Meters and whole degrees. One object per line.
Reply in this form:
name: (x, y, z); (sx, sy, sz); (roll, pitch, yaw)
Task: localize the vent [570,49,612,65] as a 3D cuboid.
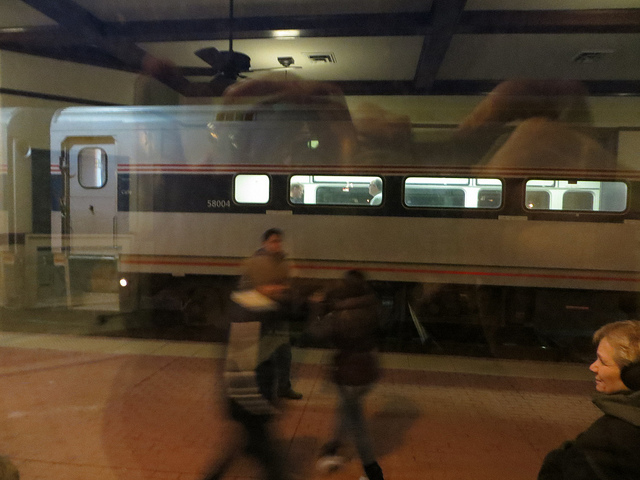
vent: (5.645, -3.795, 11.172); (0.715, 0.092, 0.830); (0, 1, 7)

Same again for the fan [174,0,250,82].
fan: (-2.154, -3.999, 10.534); (1.493, 1.782, 1.602); (2, 1, -9)

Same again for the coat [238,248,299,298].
coat: (-0.698, 0.515, 7.478); (0.778, 0.826, 0.533); (17, -16, -24)

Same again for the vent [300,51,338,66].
vent: (-0.010, -4.051, 11.983); (0.745, 0.112, 0.732); (0, 1, 11)

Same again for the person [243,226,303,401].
person: (-0.692, 1.175, 7.444); (0.988, 2.623, 0.841); (3, 22, 4)

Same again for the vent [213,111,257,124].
vent: (-1.564, -2.267, 9.952); (0.815, 0.225, 0.069); (0, 1, 4)
